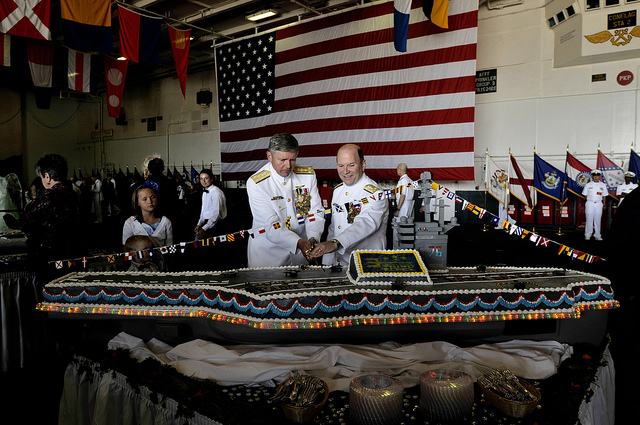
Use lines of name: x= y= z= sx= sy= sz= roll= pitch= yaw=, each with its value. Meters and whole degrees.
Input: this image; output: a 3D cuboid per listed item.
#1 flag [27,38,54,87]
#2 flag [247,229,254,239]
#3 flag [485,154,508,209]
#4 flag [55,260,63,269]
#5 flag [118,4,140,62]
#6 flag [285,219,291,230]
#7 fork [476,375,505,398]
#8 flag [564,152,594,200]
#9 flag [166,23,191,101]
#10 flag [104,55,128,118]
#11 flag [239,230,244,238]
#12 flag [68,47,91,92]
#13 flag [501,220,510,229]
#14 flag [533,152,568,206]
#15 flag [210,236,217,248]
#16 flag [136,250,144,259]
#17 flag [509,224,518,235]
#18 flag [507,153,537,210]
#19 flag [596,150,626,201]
flag: x=-7.308 y=-3.970 z=14.392 sx=0.344 sy=1.229 sz=0.703 roll=12 pitch=17 yaw=43
flag: x=-0.857 y=0.250 z=6.861 sx=0.066 sy=0.155 sz=0.181 roll=-1 pitch=14 yaw=-5
flag: x=4.254 y=-0.775 z=13.113 sx=0.580 sy=1.151 sz=0.515 roll=6 pitch=14 yaw=27
flag: x=-3.006 y=0.585 z=6.306 sx=0.026 sy=0.106 sz=0.101 roll=4 pitch=4 yaw=36
flag: x=-3.833 y=-3.640 z=11.053 sx=0.431 sy=1.069 sz=0.278 roll=-5 pitch=13 yaw=-20
flag: x=-0.387 y=0.125 z=6.794 sx=0.045 sy=0.153 sz=0.053 roll=-10 pitch=-2 yaw=-43
fork: x=1.645 y=1.663 z=5.300 sx=0.094 sy=0.061 sz=0.314 roll=-35 pitch=51 yaw=-20
flag: x=5.884 y=-0.888 z=12.383 sx=0.122 sy=1.190 sz=0.921 roll=-1 pitch=4 yaw=-44
flag: x=-3.147 y=-3.502 z=12.466 sx=0.458 sy=1.657 sz=2.550 roll=-3 pitch=14 yaw=-14
flag: x=-5.202 y=-3.255 z=13.971 sx=0.685 sy=1.850 sz=0.068 roll=4 pitch=-12 yaw=-31
flag: x=-0.975 y=0.254 z=6.889 sx=0.049 sy=0.100 sz=0.143 roll=-2 pitch=14 yaw=-9
flag: x=-6.381 y=-3.794 z=14.548 sx=0.796 sy=1.587 sz=0.031 roll=7 pitch=-37 yaw=-31
flag: x=2.122 y=0.121 z=6.242 sx=0.072 sy=0.081 sz=0.020 roll=14 pitch=5 yaw=-37
flag: x=5.411 y=-0.881 z=12.794 sx=1.027 sy=1.526 sz=0.152 roll=2 pitch=2 yaw=23
flag: x=-1.293 y=0.350 z=6.647 sx=0.035 sy=0.154 sz=0.108 roll=-6 pitch=31 yaw=-11
flag: x=-2.143 y=0.488 z=6.535 sx=0.080 sy=0.099 sz=0.025 roll=-1 pitch=-2 yaw=1
flag: x=2.236 y=0.184 z=6.324 sx=0.049 sy=0.102 sz=0.020 roll=13 pitch=11 yaw=-15
flag: x=4.856 y=-0.840 z=13.082 sx=1.108 sy=1.671 sz=0.127 roll=5 pitch=-5 yaw=-32
flag: x=6.360 y=-0.834 z=11.933 sx=1.077 sy=1.639 sz=0.144 roll=-2 pitch=-1 yaw=-31
